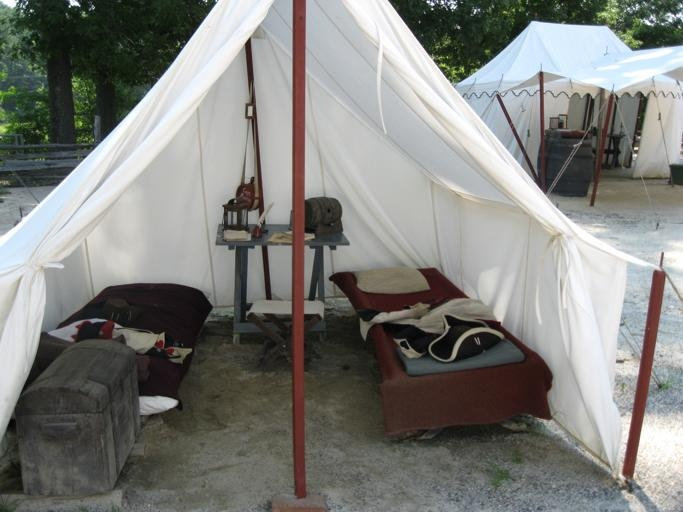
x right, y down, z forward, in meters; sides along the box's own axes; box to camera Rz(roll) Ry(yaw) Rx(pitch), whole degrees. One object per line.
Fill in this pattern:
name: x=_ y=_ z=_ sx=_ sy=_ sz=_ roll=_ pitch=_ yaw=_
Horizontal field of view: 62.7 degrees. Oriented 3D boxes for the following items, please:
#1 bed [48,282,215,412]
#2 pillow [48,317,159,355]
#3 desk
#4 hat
bed: x=-1.724 y=0.838 z=4.995 sx=1.005 sy=0.878 sz=1.321 roll=2 pitch=14 yaw=-8
pillow: x=-1.806 y=0.628 z=4.429 sx=0.447 sy=0.150 sz=0.427 roll=14 pitch=0 yaw=-19
desk: x=-0.624 y=0.184 z=5.971 sx=1.237 sy=1.045 sz=1.165 roll=-1 pitch=12 yaw=-7
hat: x=1.003 y=0.618 z=4.357 sx=0.543 sy=0.206 sz=0.585 roll=-4 pitch=17 yaw=33
